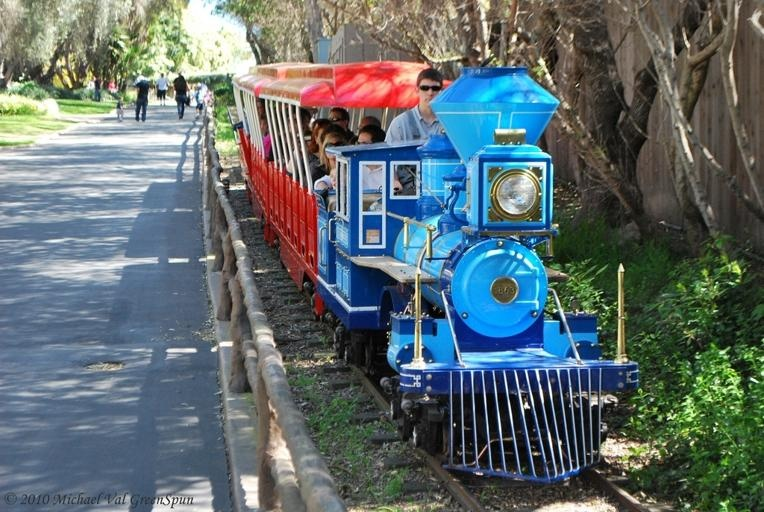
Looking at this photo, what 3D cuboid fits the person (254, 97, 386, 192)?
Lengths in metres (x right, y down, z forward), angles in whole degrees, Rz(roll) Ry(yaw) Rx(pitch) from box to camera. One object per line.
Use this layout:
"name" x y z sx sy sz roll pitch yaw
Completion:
"person" -0.686 -1.666 10.121 0.560 1.046 3.122 -3 7 -18
